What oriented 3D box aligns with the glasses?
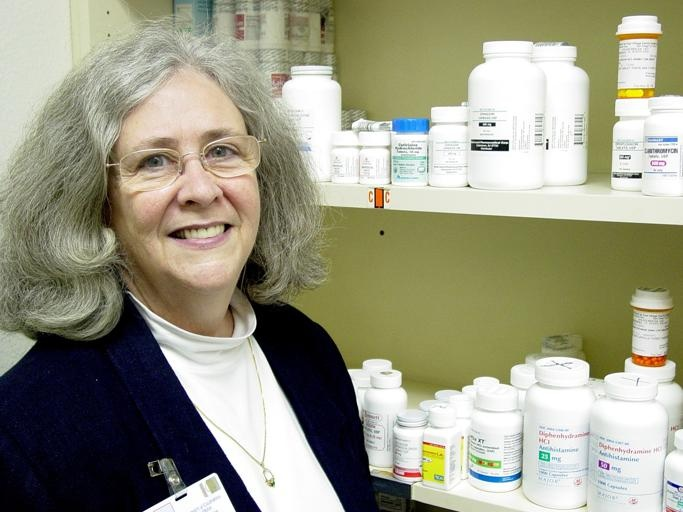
[{"bbox_3d":[-0.313,-0.205,1.384,0.373,0.115,0.124,-11,17,-41],"label":"glasses"}]
